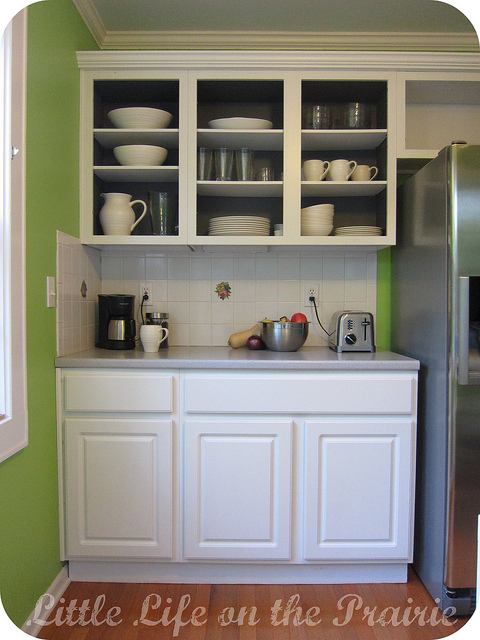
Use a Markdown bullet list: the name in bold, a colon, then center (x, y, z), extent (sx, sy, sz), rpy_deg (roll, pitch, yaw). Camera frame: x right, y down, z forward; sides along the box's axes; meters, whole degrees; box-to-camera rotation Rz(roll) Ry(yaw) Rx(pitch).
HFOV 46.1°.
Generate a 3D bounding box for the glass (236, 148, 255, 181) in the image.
- **glass**: center (0.020, -0.653, 2.379), extent (0.071, 0.130, 0.087), rpy_deg (0, 12, -3)

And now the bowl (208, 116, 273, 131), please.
- **bowl**: center (0.001, -0.828, 2.383), extent (0.261, 0.072, 0.181), rpy_deg (0, 13, -2)

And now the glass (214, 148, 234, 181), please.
- **glass**: center (-0.067, -0.651, 2.370), extent (0.082, 0.131, 0.084), rpy_deg (0, 12, -1)

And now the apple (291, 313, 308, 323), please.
- **apple**: center (0.259, -0.008, 2.479), extent (0.046, 0.057, 0.045), rpy_deg (-5, 9, -41)

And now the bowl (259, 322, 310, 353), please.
- **bowl**: center (0.181, 0.071, 2.378), extent (0.199, 0.144, 0.114), rpy_deg (4, 13, 15)

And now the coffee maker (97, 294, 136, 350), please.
- **coffee maker**: center (-0.519, 0.011, 2.356), extent (0.181, 0.293, 0.200), rpy_deg (2, -3, -31)

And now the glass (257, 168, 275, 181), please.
- **glass**: center (0.109, -0.616, 2.393), extent (0.063, 0.050, 0.050), rpy_deg (6, 12, 28)

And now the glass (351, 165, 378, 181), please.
- **glass**: center (0.527, -0.615, 2.404), extent (0.102, 0.076, 0.071), rpy_deg (3, 6, 11)

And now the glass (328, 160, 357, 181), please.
- **glass**: center (0.427, -0.627, 2.366), extent (0.108, 0.088, 0.073), rpy_deg (3, 5, 4)

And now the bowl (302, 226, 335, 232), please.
- **bowl**: center (0.326, -0.384, 2.385), extent (0.126, 0.024, 0.026), rpy_deg (-1, 12, -6)

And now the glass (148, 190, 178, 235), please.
- **glass**: center (-0.324, -0.449, 2.385), extent (0.121, 0.174, 0.060), rpy_deg (-1, 12, -5)

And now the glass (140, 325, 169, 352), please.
- **glass**: center (-0.361, 0.073, 2.367), extent (0.080, 0.110, 0.117), rpy_deg (-3, -7, 37)

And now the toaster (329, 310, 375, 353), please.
- **toaster**: center (0.516, 0.102, 2.483), extent (0.163, 0.180, 0.290), rpy_deg (0, -22, 13)

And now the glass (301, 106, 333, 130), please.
- **glass**: center (0.322, -0.838, 2.342), extent (0.101, 0.071, 0.107), rpy_deg (-10, 16, -42)

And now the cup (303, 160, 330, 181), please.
- **cup**: center (0.332, -0.632, 2.388), extent (0.106, 0.085, 0.073), rpy_deg (10, 15, 35)

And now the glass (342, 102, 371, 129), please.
- **glass**: center (0.490, -0.854, 2.367), extent (0.098, 0.093, 0.124), rpy_deg (0, 5, -3)

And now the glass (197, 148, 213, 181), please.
- **glass**: center (-0.149, -0.650, 2.360), extent (0.057, 0.133, 0.086), rpy_deg (1, 12, 5)

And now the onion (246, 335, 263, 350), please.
- **onion**: center (0.063, 0.100, 2.449), extent (0.053, 0.059, 0.055), rpy_deg (7, -6, -20)
